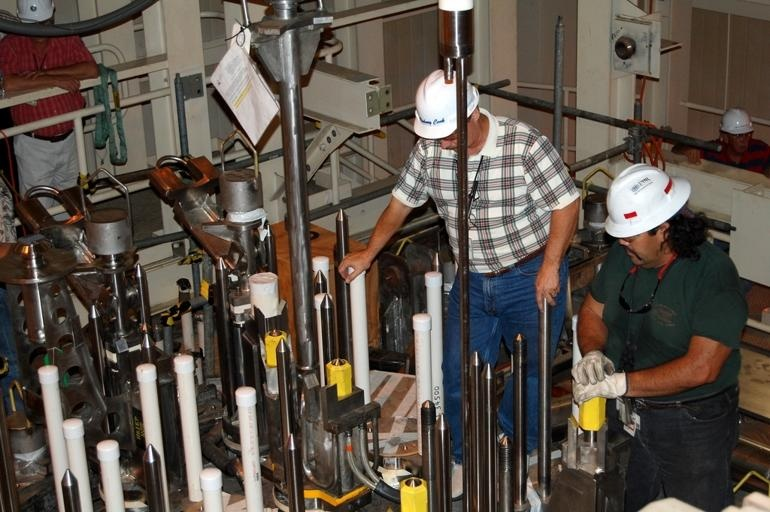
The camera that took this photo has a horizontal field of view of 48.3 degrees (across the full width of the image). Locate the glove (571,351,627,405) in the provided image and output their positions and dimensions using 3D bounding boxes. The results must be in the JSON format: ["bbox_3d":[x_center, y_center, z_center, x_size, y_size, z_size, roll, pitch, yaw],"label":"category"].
[{"bbox_3d":[1.109,0.627,4.476,0.281,0.247,0.140,-6,-26,8],"label":"glove"}]

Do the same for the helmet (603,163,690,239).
[{"bbox_3d":[1.436,-0.352,4.841,0.529,0.509,0.286,-22,-73,23],"label":"helmet"}]

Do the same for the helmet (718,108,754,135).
[{"bbox_3d":[3.501,-1.328,8.614,0.224,0.291,0.166,-11,-62,-6],"label":"helmet"}]
